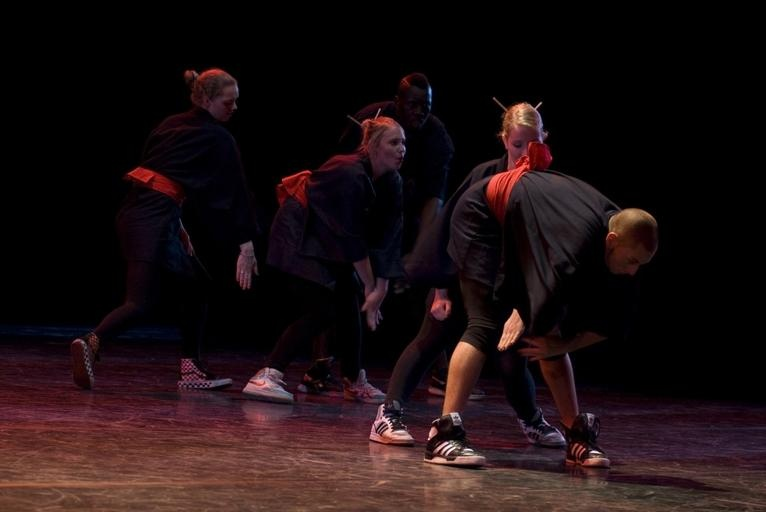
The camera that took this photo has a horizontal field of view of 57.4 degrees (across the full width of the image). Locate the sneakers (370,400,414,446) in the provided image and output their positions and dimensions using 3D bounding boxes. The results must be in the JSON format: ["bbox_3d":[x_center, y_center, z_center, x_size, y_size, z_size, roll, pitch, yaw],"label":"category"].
[{"bbox_3d":[0.027,0.593,2.416,0.090,0.120,0.229,5,-10,-23],"label":"sneakers"}]

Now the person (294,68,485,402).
[{"bbox_3d":[0.071,-0.157,3.344,0.956,1.407,0.644,-3,-13,-4],"label":"person"}]

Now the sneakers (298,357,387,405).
[{"bbox_3d":[-0.169,0.614,3.428,0.549,0.201,0.167,5,-5,12],"label":"sneakers"}]

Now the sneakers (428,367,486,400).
[{"bbox_3d":[0.429,0.667,3.620,0.359,0.192,0.116,0,0,-10],"label":"sneakers"}]

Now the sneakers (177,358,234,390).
[{"bbox_3d":[-0.816,0.589,3.445,0.343,0.159,0.105,0,-5,-3],"label":"sneakers"}]

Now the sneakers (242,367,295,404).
[{"bbox_3d":[-0.499,0.595,3.192,0.303,0.154,0.109,7,-15,19],"label":"sneakers"}]

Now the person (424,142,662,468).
[{"bbox_3d":[0.534,0.177,2.189,0.697,0.943,0.840,5,0,-25],"label":"person"}]

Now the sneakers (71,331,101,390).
[{"bbox_3d":[-1.343,0.469,3.151,0.112,0.262,0.130,1,3,5],"label":"sneakers"}]
